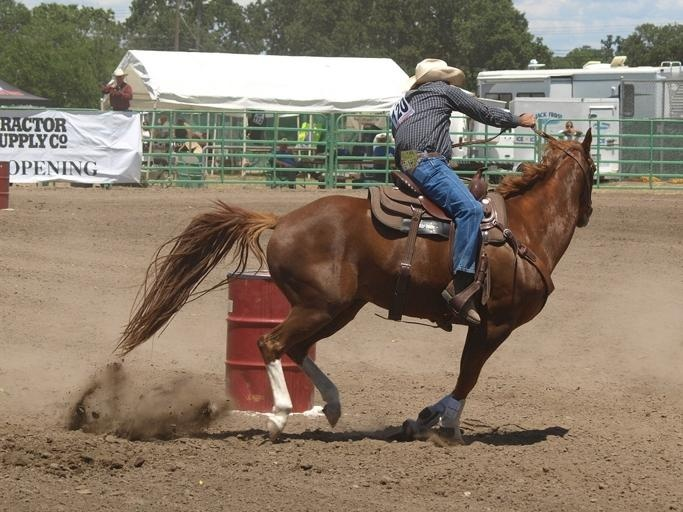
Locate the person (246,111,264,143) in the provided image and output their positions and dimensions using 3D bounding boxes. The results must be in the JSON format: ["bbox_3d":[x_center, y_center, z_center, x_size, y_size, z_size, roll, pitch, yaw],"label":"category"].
[{"bbox_3d":[-2.120,-3.250,26.316,0.562,0.870,0.213,3,-31,7],"label":"person"}]

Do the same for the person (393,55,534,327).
[{"bbox_3d":[1.087,-0.653,10.325,0.966,2.459,1.315,-4,16,-17],"label":"person"}]

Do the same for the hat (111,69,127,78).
[{"bbox_3d":[-5.434,-4.510,25.841,0.530,0.148,0.507,-1,8,-4],"label":"hat"}]

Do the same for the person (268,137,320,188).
[{"bbox_3d":[-1.374,-2.211,25.427,1.325,1.545,1.206,-1,4,11],"label":"person"}]

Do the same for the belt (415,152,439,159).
[{"bbox_3d":[0.832,-0.966,10.176,0.232,0.098,0.098,0,15,-5],"label":"belt"}]

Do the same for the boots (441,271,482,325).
[{"bbox_3d":[1.154,0.383,10.009,0.245,0.451,0.465,-13,-23,-14],"label":"boots"}]

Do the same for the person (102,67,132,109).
[{"bbox_3d":[-5.444,-4.006,25.616,0.646,0.969,2.677,-2,14,-12],"label":"person"}]
